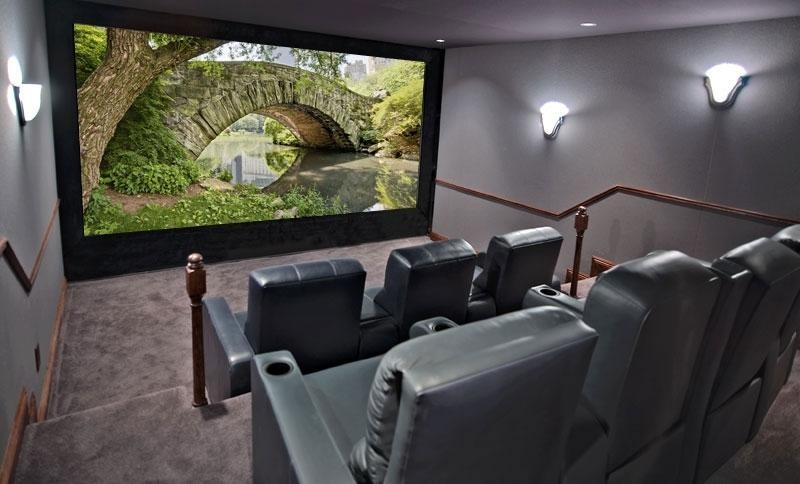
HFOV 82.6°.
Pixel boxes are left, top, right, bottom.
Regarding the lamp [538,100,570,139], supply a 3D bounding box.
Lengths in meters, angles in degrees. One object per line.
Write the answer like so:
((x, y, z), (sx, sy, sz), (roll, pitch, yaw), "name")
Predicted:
((2.016, -1.649, 6.003), (0.355, 0.449, 0.111), (6, 17, 14), "lamp")

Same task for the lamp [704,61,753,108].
((3.314, -1.613, 4.637), (0.335, 0.433, 0.153), (13, 21, 31), "lamp")

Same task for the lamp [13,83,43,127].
((-3.395, -1.267, 4.154), (0.140, 0.366, 0.534), (-7, 19, -26), "lamp")
